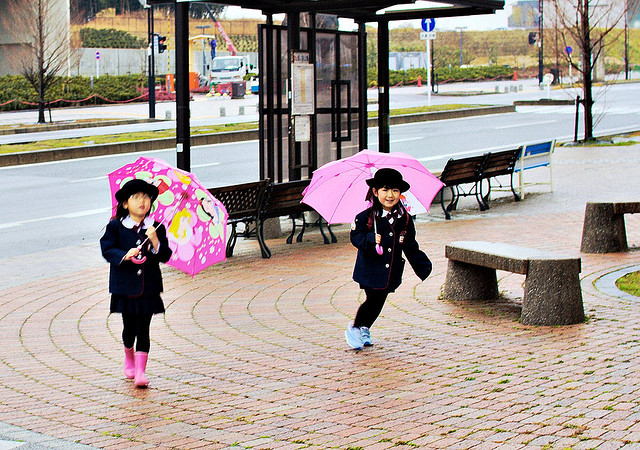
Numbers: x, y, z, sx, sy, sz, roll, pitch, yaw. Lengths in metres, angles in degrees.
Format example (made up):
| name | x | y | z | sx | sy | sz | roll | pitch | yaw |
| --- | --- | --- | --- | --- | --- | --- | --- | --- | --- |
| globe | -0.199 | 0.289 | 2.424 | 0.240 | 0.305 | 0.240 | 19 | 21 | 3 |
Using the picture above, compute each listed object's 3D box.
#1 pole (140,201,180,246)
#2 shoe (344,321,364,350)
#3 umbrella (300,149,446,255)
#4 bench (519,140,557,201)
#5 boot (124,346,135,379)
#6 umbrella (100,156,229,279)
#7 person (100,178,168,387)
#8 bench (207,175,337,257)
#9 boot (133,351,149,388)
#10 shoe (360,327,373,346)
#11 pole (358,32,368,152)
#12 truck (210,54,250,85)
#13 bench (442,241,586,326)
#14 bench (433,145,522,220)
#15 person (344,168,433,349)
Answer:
| name | x | y | z | sx | sy | sz | roll | pitch | yaw |
| --- | --- | --- | --- | --- | --- | --- | --- | --- | --- |
| pole | -1.388 | -0.004 | 6.942 | 0.545 | 0.074 | 0.032 | -46 | 31 | -19 |
| shoe | 0.364 | 1.021 | 7.758 | 0.154 | 0.156 | 0.358 | 22 | 8 | 9 |
| umbrella | 0.523 | -0.531 | 8.218 | 1.167 | 1.099 | 0.856 | 7 | 49 | 1 |
| bench | 4.082 | -1.136 | 15.890 | 0.661 | 1.090 | 1.701 | 0 | 7 | 31 |
| boot | -1.681 | 1.221 | 7.057 | 0.093 | 0.284 | 0.153 | -5 | 12 | -15 |
| umbrella | -1.208 | -0.114 | 7.037 | 1.071 | 1.052 | 0.429 | -4 | 17 | 16 |
| person | -1.569 | 0.497 | 6.904 | 0.566 | 1.791 | 0.464 | -5 | 12 | -12 |
| bench | -0.586 | -0.185 | 11.599 | 0.691 | 0.780 | 1.930 | 8 | 12 | 42 |
| boot | -1.553 | 1.251 | 6.921 | 0.127 | 0.303 | 0.219 | -5 | 12 | -14 |
| shoe | 0.434 | 1.077 | 7.650 | 0.126 | 0.158 | 0.366 | 1 | -10 | -2 |
| pole | 0.730 | -2.364 | 13.978 | 0.144 | 2.111 | 0.143 | -2 | -5 | 32 |
| truck | -6.232 | -10.975 | 55.629 | 2.437 | 2.217 | 4.625 | -1 | 16 | 3 |
| bench | 2.046 | 0.596 | 8.442 | 0.572 | 0.722 | 1.489 | -10 | 14 | -34 |
| bench | 2.792 | -0.822 | 14.708 | 2.052 | 1.019 | 0.805 | -12 | 7 | -41 |
| person | 0.608 | 0.326 | 7.462 | 0.784 | 1.725 | 0.438 | -2 | 11 | 1 |
